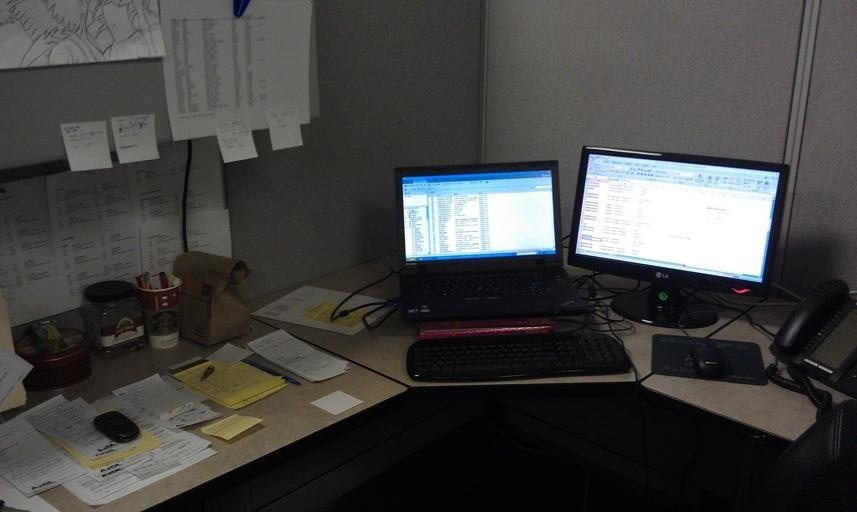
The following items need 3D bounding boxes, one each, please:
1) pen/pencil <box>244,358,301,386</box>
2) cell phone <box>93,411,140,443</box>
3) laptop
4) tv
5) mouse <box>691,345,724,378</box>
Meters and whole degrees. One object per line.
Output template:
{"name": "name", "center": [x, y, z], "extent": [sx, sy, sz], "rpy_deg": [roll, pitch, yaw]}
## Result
{"name": "pen/pencil", "center": [-0.466, 0.348, 1.875], "extent": [0.155, 0.016, 0.018], "rpy_deg": [18, 7, 11]}
{"name": "cell phone", "center": [-0.819, 0.448, 1.652], "extent": [0.114, 0.024, 0.066], "rpy_deg": [20, 27, 29]}
{"name": "laptop", "center": [0.184, -0.080, 2.210], "extent": [0.762, 0.435, 0.531], "rpy_deg": [-3, 37, -5]}
{"name": "tv", "center": [0.859, -0.069, 2.129], "extent": [0.581, 0.431, 0.277], "rpy_deg": [10, 22, 23]}
{"name": "mouse", "center": [0.849, 0.319, 1.909], "extent": [0.097, 0.079, 0.092], "rpy_deg": [1, 18, 14]}
